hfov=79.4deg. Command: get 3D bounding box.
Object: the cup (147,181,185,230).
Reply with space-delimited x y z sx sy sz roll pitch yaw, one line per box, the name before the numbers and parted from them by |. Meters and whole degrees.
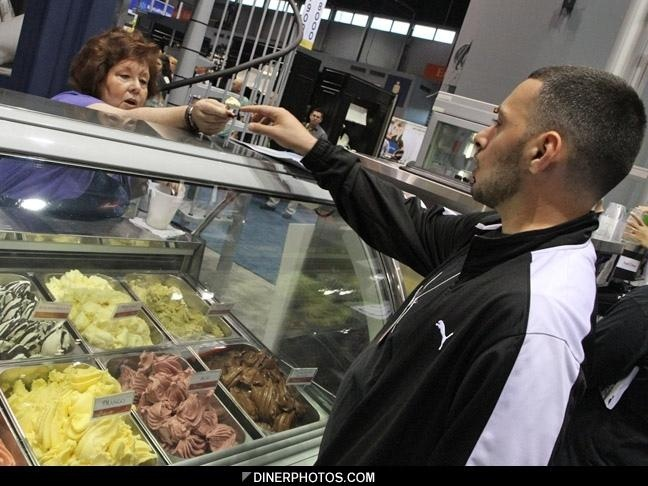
cup | -0.461 -0.111 1.119 0.086 0.081 0.059 19 37 -9
